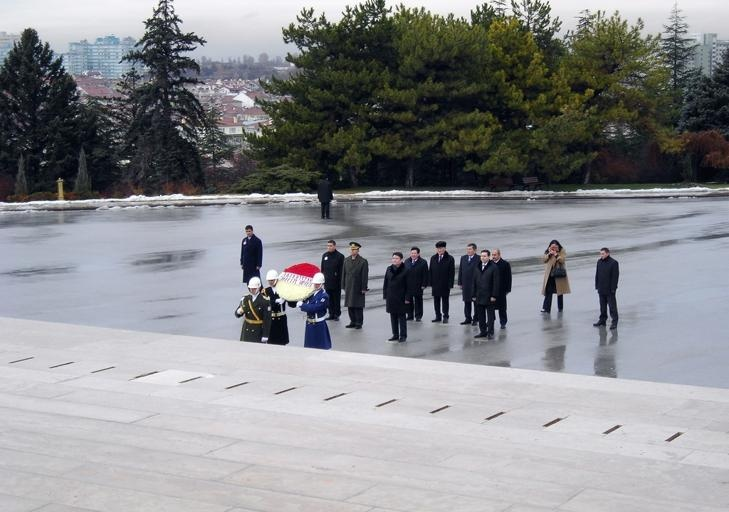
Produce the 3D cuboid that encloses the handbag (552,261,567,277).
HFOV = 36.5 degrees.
[{"bbox_3d":[4.701,0.311,26.776,0.402,0.516,0.167,2,7,12],"label":"handbag"}]

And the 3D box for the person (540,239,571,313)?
[{"bbox_3d":[4.699,0.458,27.065,0.660,1.654,1.542,3,14,9],"label":"person"}]

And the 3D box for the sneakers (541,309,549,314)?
[{"bbox_3d":[4.328,1.315,26.587,0.175,0.091,0.140,8,15,29],"label":"sneakers"}]

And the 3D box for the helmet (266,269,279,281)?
[{"bbox_3d":[-1.951,0.400,23.225,0.289,0.212,0.385,0,3,10],"label":"helmet"}]

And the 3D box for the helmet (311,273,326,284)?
[{"bbox_3d":[-0.973,0.478,23.248,0.222,0.272,0.261,6,14,20],"label":"helmet"}]

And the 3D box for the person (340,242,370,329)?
[{"bbox_3d":[-0.242,0.686,25.751,0.564,1.854,1.038,0,14,-1],"label":"person"}]

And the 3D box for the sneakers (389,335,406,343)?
[{"bbox_3d":[0.742,1.842,24.517,0.398,0.154,0.129,5,1,3],"label":"sneakers"}]

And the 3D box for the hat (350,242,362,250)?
[{"bbox_3d":[-0.187,-0.279,25.965,0.240,0.116,0.254,8,-8,24],"label":"hat"}]

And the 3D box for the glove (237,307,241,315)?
[{"bbox_3d":[-2.576,1.127,22.811,0.102,0.060,0.133,5,21,7],"label":"glove"}]

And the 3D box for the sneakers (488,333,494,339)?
[{"bbox_3d":[2.835,1.785,24.762,0.059,0.123,0.189,8,21,21],"label":"sneakers"}]

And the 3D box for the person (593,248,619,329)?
[{"bbox_3d":[5.625,0.726,25.589,0.542,1.649,1.177,3,14,11],"label":"person"}]

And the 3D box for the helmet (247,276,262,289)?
[{"bbox_3d":[-2.271,0.554,22.872,0.253,0.275,0.364,-1,13,-5],"label":"helmet"}]

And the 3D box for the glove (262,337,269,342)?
[{"bbox_3d":[-2.067,1.739,22.999,0.088,0.095,0.111,15,13,-29],"label":"glove"}]

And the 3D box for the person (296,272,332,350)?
[{"bbox_3d":[-1.012,1.203,23.249,0.719,1.682,0.691,-5,15,-22],"label":"person"}]

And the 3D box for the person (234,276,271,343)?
[{"bbox_3d":[-2.294,1.105,22.968,0.692,1.390,0.399,-1,14,-6],"label":"person"}]

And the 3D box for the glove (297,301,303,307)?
[{"bbox_3d":[-1.347,1.011,23.221,0.108,0.103,0.119,0,0,-5],"label":"glove"}]
